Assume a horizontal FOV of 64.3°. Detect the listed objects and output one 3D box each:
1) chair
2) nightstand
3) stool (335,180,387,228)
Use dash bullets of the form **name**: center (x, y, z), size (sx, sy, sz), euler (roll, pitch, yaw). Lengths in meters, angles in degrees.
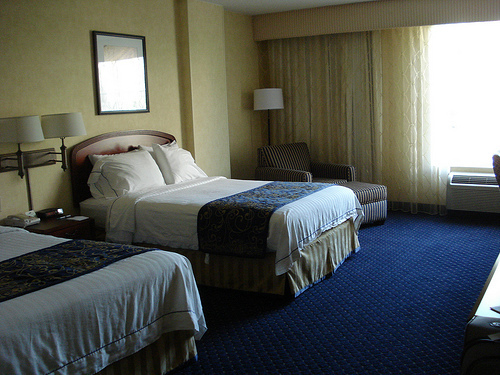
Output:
- **chair**: center (0.736, -0.383, 6.453), size (0.879, 1.046, 0.922), euler (1, 7, 33)
- **nightstand**: center (-1.980, 0.385, 4.155), size (0.461, 0.328, 0.442), euler (7, 15, 26)
- **stool**: center (1.659, 0.225, 5.905), size (0.555, 0.493, 0.588), euler (0, 9, 31)
